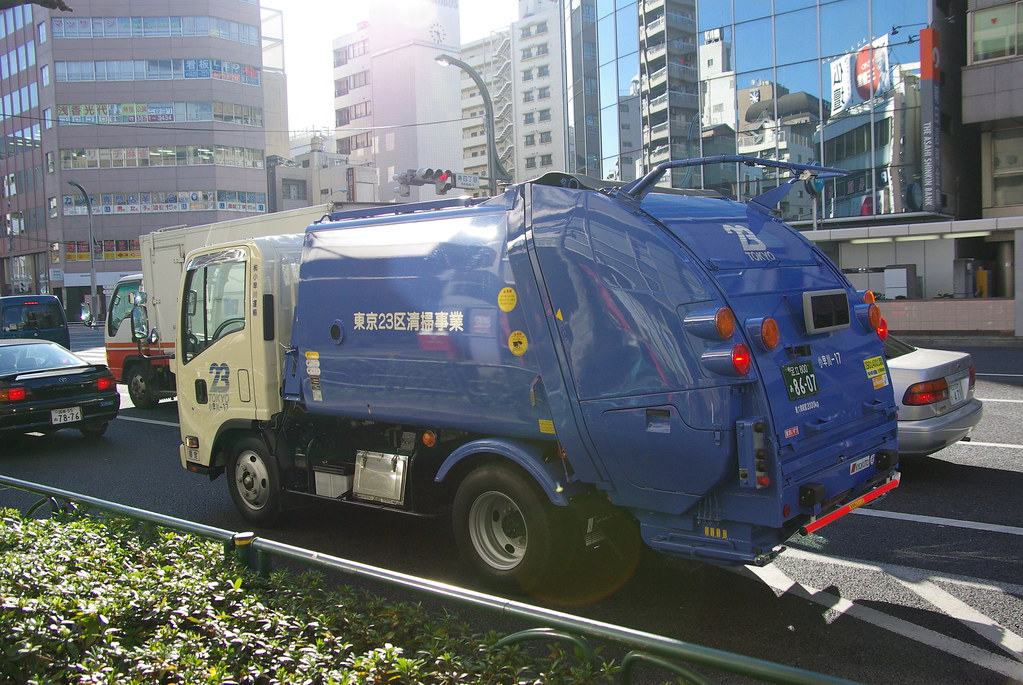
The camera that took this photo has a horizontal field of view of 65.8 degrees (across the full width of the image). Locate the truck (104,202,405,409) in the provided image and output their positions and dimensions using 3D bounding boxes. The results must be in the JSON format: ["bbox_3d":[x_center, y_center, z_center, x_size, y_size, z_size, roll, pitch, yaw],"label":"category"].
[{"bbox_3d":[-5.321,-0.476,15.438,6.223,3.383,2.461,-2,-5,28],"label":"truck"}]

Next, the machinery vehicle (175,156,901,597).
[{"bbox_3d":[-0.023,0.367,8.277,6.324,3.394,3.567,2,2,36],"label":"machinery vehicle"}]
